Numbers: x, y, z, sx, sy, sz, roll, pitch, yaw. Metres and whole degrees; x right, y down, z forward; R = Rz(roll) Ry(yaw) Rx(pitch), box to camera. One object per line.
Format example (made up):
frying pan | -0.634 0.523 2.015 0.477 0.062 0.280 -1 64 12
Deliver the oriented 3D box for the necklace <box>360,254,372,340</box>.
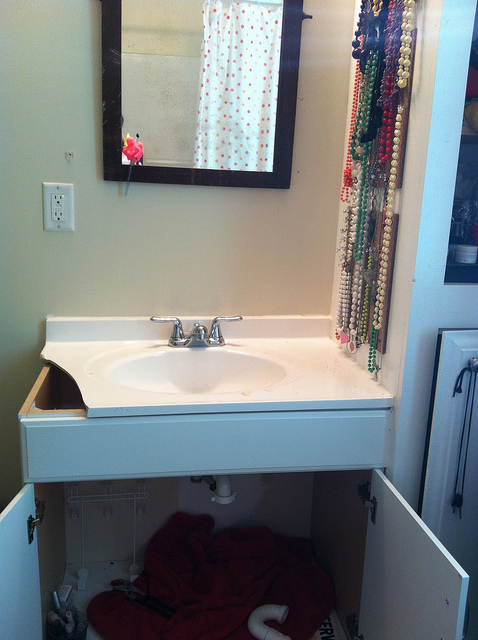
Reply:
necklace | 0.308 -0.018 1.362 0.013 0.133 0.031 -1 12 -12

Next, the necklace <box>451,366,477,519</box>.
necklace | 0.502 0.288 1.260 0.068 0.377 0.023 -5 13 -30

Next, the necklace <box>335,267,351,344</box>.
necklace | 0.275 -0.042 1.470 0.025 0.186 0.057 -1 12 -14

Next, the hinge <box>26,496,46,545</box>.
hinge | -0.424 0.410 1.166 0.021 0.053 0.153 4 4 -13

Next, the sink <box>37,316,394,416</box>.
sink | -0.097 0.122 1.375 0.838 0.184 0.515 1 15 -10
